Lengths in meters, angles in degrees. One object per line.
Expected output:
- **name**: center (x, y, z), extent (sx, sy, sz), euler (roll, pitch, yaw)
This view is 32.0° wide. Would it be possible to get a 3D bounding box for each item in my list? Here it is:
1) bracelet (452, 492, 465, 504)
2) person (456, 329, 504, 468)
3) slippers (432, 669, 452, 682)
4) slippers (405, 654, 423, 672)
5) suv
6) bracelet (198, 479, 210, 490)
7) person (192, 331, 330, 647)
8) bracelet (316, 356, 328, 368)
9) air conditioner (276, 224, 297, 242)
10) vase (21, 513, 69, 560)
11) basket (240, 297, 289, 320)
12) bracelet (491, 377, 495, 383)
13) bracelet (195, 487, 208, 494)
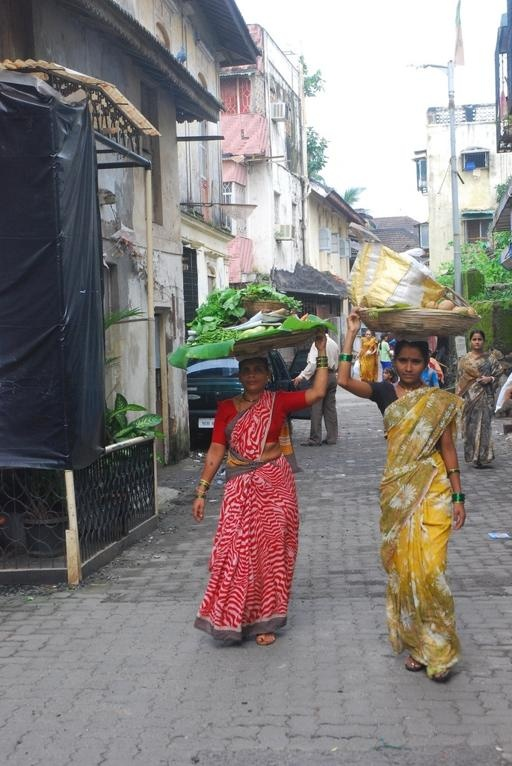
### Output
- **bracelet**: center (0.984, 0.554, 4.320), extent (0.059, 0.037, 0.055), euler (0, -2, -14)
- **person**: center (2.719, 0.154, 10.859), extent (0.526, 1.613, 0.559), euler (-1, 8, 13)
- **slippers**: center (0.828, 1.309, 4.000), extent (0.080, 0.055, 0.056), euler (-3, 7, -2)
- **slippers**: center (0.741, 1.309, 4.190), extent (0.087, 0.068, 0.092), euler (0, 7, 15)
- **suv**: center (-0.305, 0.112, 14.180), extent (1.091, 0.864, 2.179), euler (-2, 9, 15)
- **bracelet**: center (-0.292, 0.562, 5.004), extent (0.068, 0.044, 0.063), euler (-3, 4, -20)
- **person**: center (0.017, 0.571, 4.706), extent (0.745, 1.557, 0.595), euler (-2, 8, 2)
- **bracelet**: center (0.353, -0.121, 4.854), extent (0.068, 0.060, 0.062), euler (0, -5, -2)
- **air conditioner**: center (0.944, -5.070, 29.902), extent (0.505, 0.548, 1.302), euler (-1, 6, 11)
- **vase**: center (-1.511, 1.075, 6.468), extent (0.338, 0.270, 0.336), euler (3, 5, 29)
- **basket**: center (0.049, -0.461, 5.416), extent (0.175, 0.102, 0.322), euler (0, 6, 17)
- **bracelet**: center (2.892, -0.045, 10.891), extent (0.059, 0.039, 0.056), euler (0, 23, 18)
- **bracelet**: center (-0.316, 0.601, 4.999), extent (0.045, 0.046, 0.051), euler (5, 37, -12)
